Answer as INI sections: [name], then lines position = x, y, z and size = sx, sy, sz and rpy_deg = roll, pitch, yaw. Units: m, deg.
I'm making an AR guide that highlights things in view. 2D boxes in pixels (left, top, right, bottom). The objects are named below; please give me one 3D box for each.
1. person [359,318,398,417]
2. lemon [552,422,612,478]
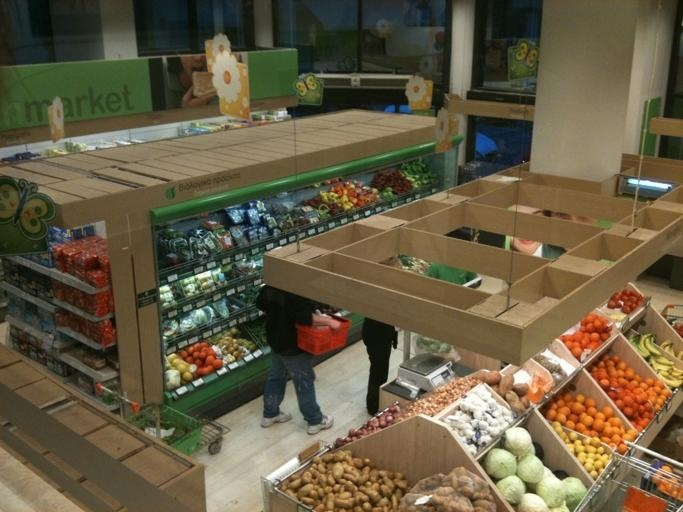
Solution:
[person]
position = 0.388, 1.139, 5.380
size = 0.439, 1.142, 0.393
rpy_deg = 15, 16, 23
[lemon]
position = 1.828, 1.467, 3.763
size = 0.391, 0.131, 0.284
rpy_deg = 18, 31, 38
